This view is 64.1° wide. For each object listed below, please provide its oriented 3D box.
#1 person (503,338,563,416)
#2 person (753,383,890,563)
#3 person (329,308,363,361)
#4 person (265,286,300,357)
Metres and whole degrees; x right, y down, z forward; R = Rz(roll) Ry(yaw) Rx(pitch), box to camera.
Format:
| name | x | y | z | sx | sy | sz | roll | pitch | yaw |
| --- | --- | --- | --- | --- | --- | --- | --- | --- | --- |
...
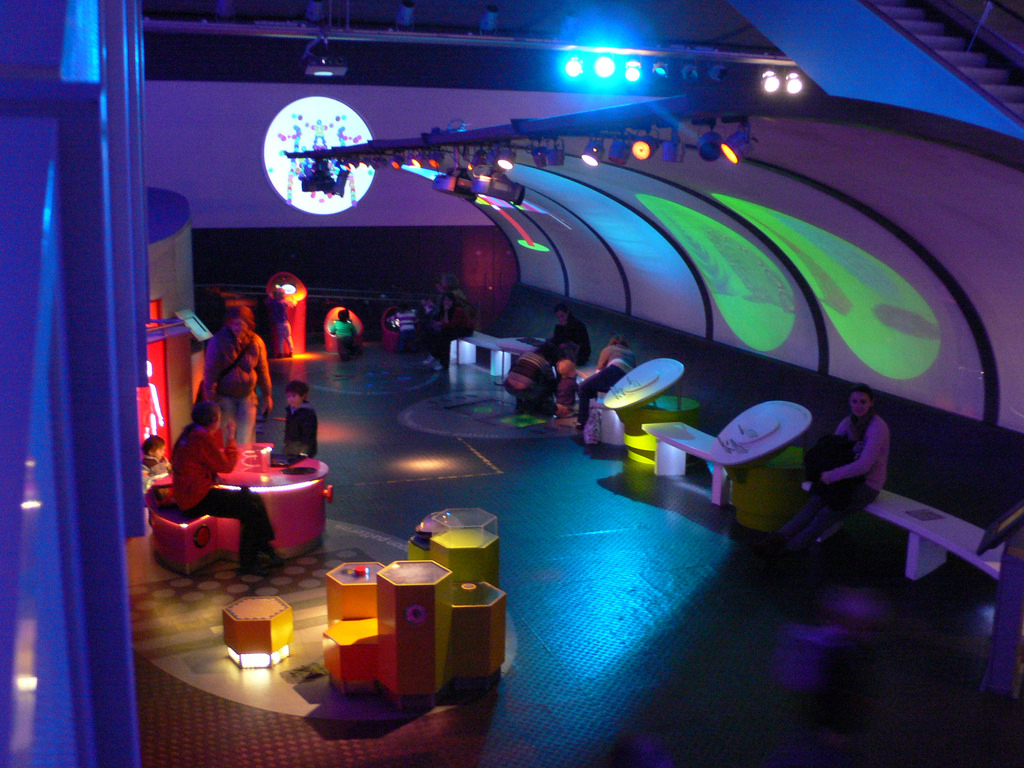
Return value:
| name | x | y | z | sx | sy | sz | roll | pitch | yaw |
| --- | --- | --- | --- | --- | --- | --- | --- | --- | --- |
| person | 0.352 | -0.014 | 13.859 | 0.859 | 1.109 | 1.154 | -1 | 9 | -1 |
| person | 3.091 | 0.970 | 8.106 | 1.389 | 1.419 | 0.719 | -24 | 29 | -8 |
| person | -3.758 | -0.966 | 18.470 | 0.797 | 1.183 | 0.781 | -7 | -8 | 5 |
| person | -5.425 | -1.370 | 18.805 | 0.678 | 2.174 | 0.524 | 2 | 39 | -13 |
